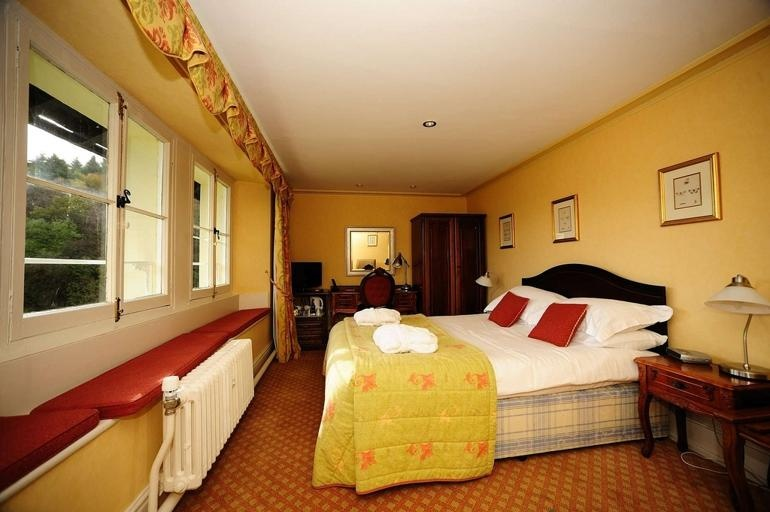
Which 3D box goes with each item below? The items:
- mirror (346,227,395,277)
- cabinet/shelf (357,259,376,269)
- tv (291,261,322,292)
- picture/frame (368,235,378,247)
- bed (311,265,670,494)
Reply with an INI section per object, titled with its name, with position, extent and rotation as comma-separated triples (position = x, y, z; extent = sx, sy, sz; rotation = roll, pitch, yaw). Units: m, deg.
[mirror]
position = -0.257, -0.054, 7.036
extent = 0.731, 0.676, 0.054
rotation = 0, -3, -11
[cabinet/shelf]
position = -0.292, 0.113, 7.108
extent = 0.186, 0.124, 0.179
rotation = 1, -5, -6
[tv]
position = -1.121, 0.294, 6.696
extent = 0.411, 0.339, 0.057
rotation = 2, -2, -30
[picture/frame]
position = -0.203, -0.229, 7.132
extent = 0.173, 0.181, 0.015
rotation = 1, 0, -14
[bed]
position = 0.775, 1.102, 4.172
extent = 2.032, 0.989, 1.992
rotation = 2, -5, -3
